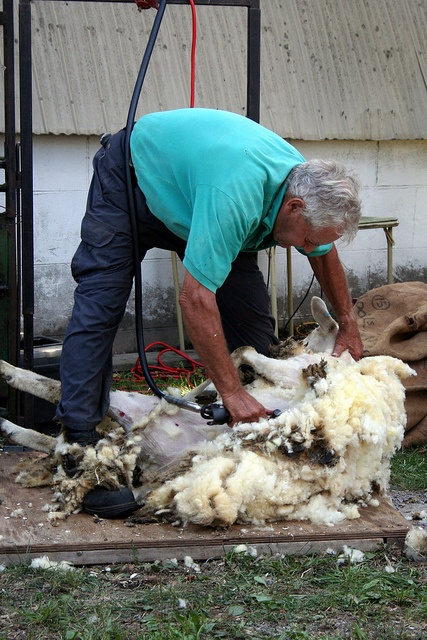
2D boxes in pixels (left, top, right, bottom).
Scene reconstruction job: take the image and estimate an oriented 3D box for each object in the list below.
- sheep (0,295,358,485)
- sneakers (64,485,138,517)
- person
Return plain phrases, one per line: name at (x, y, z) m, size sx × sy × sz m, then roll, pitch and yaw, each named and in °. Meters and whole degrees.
sheep at (-0.176, 0.339, 4.204) m, size 1.612 × 0.389 × 0.751 m, roll -8°, pitch 18°, yaw -13°
sneakers at (-0.452, 0.753, 3.839) m, size 0.226 × 0.088 × 0.099 m, roll 3°, pitch 5°, yaw 26°
person at (-0.018, -0.054, 4.090) m, size 1.246 × 1.726 × 0.941 m, roll 2°, pitch 3°, yaw 5°
